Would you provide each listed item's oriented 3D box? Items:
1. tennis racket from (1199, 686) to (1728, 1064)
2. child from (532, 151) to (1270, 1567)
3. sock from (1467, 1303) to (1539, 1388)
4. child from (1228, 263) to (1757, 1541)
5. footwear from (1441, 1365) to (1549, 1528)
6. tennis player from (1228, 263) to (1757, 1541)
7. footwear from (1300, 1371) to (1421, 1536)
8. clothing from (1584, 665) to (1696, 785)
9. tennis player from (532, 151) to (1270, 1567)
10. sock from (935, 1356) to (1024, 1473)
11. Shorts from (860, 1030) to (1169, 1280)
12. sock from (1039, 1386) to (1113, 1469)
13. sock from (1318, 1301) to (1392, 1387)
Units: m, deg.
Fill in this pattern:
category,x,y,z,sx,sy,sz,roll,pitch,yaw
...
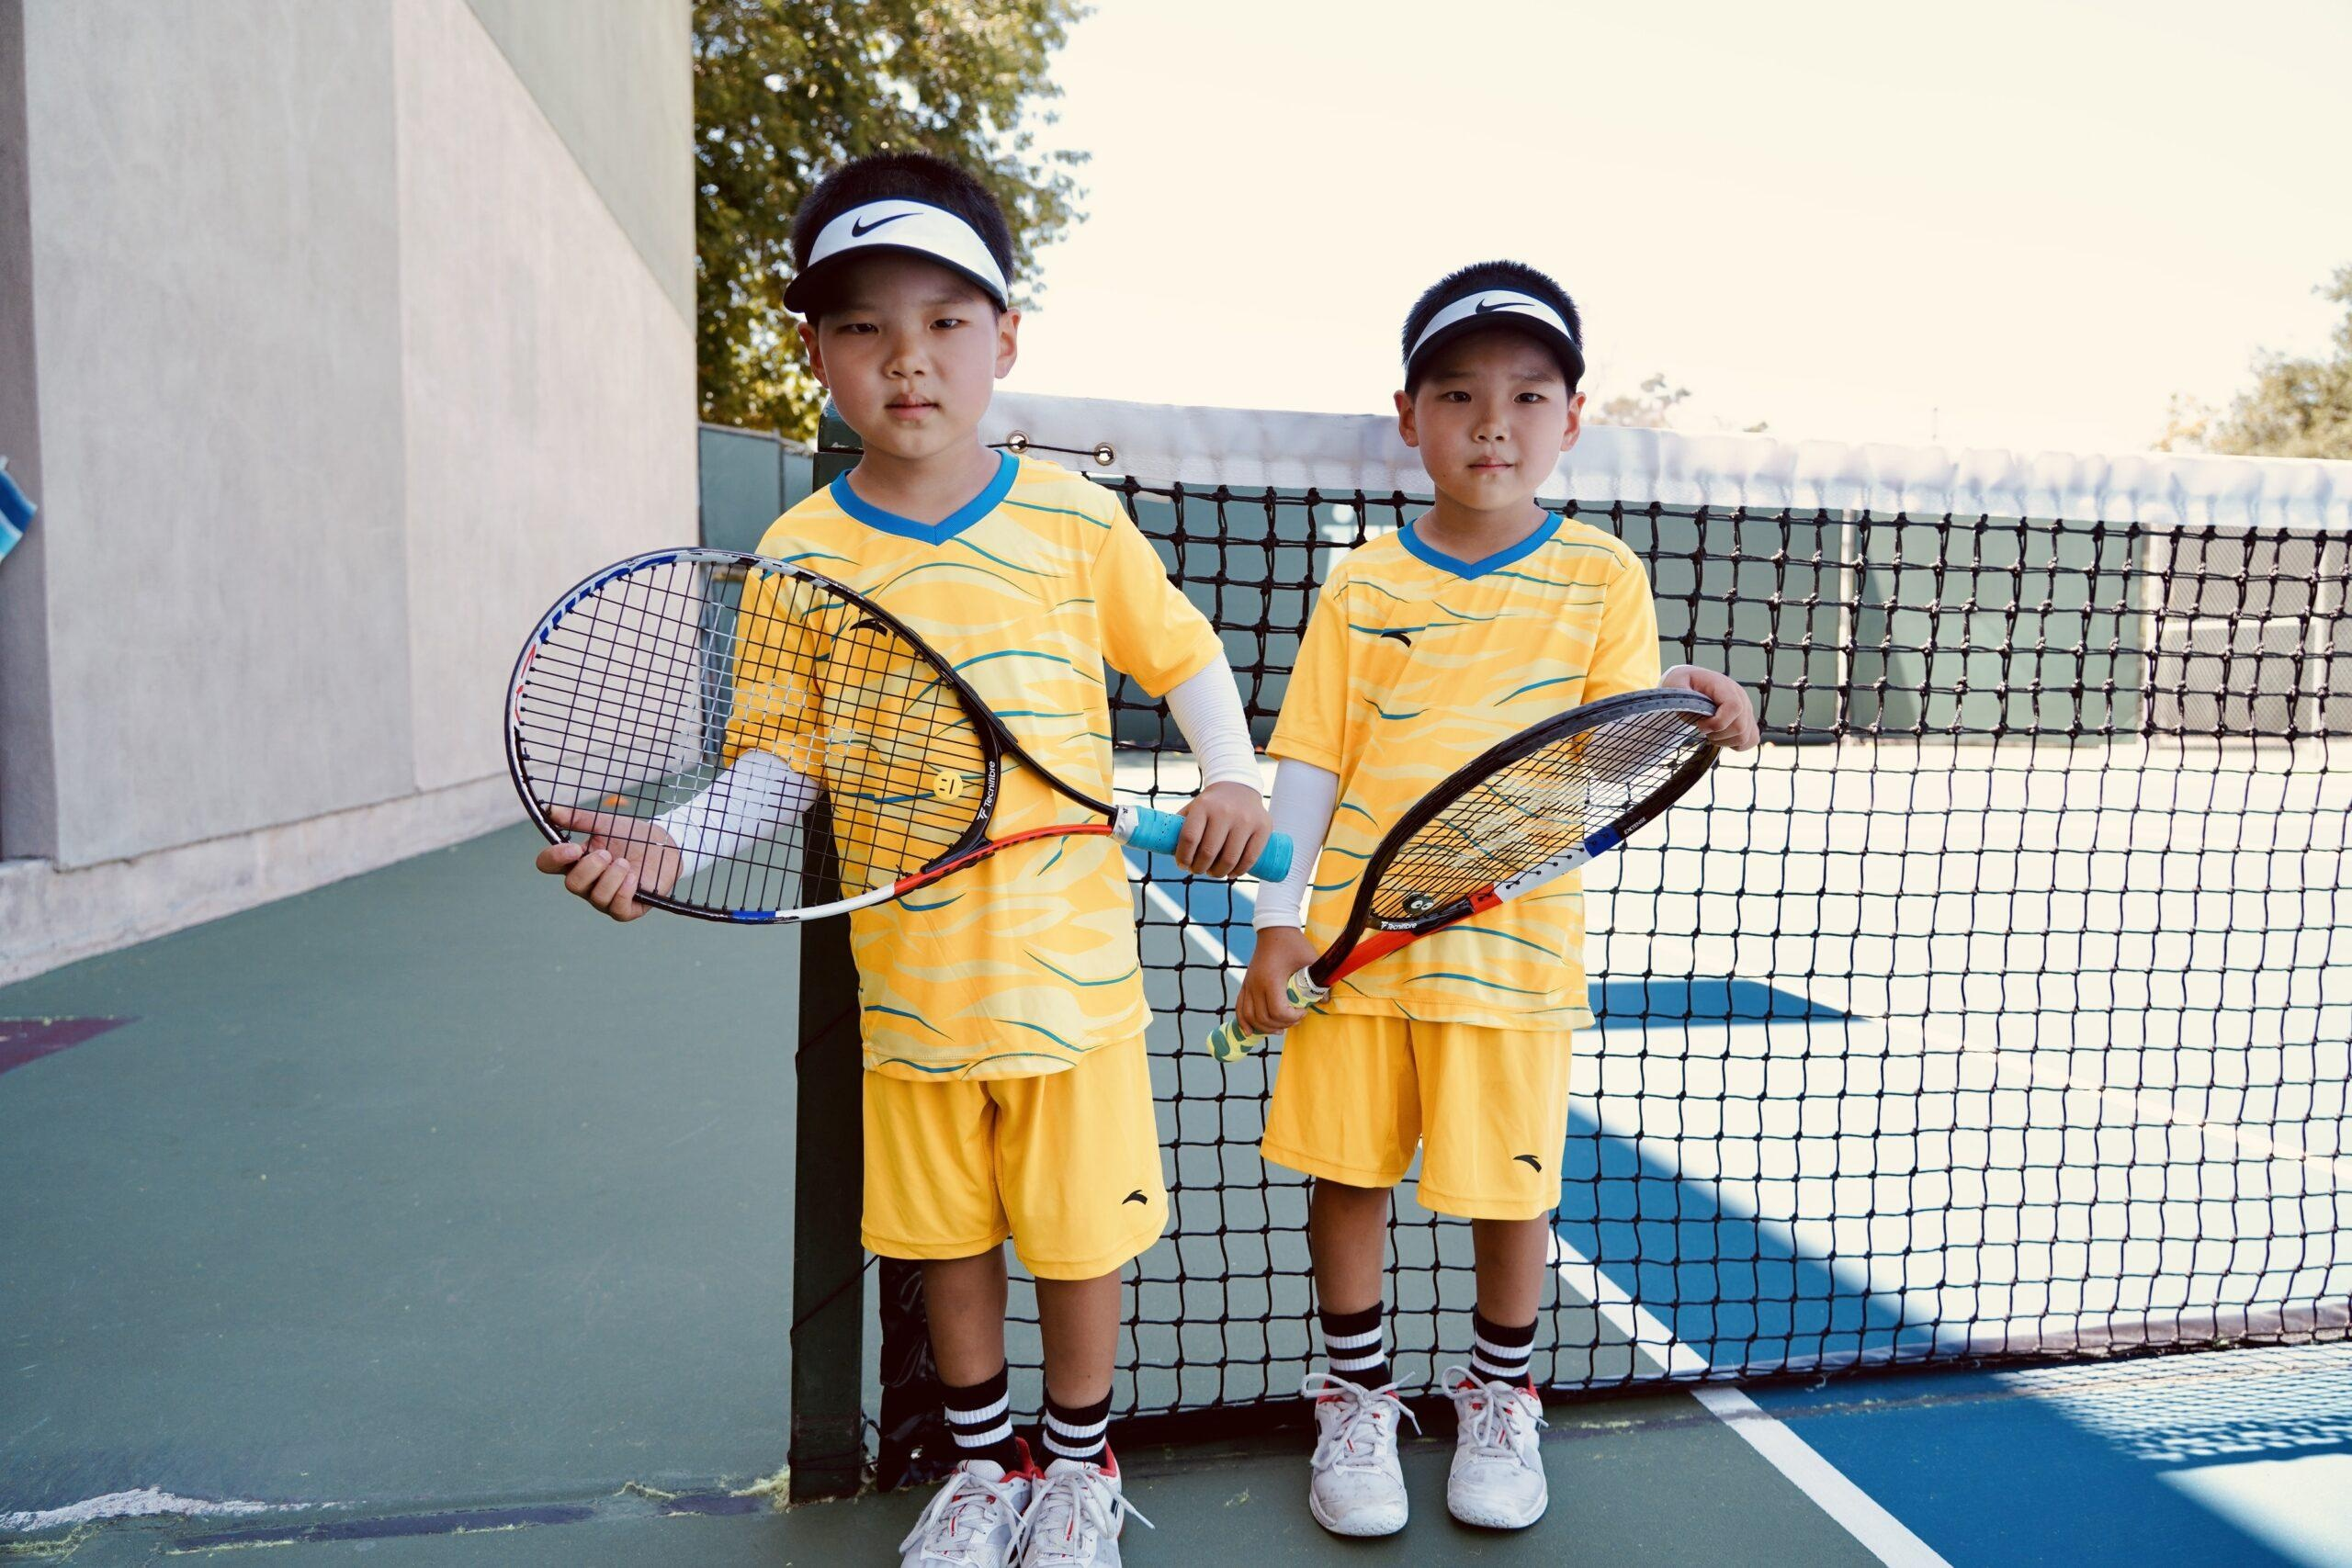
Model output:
category,x,y,z,sx,sy,sz,roll,pitch,yaw
tennis racket,0.516,0.148,3.782,1.217,0.502,0.138,-31,-5,27
child,-0.301,0.151,3.727,0.910,2.583,0.305,1,-1,-14
sock,0.633,1.110,3.957,0.129,0.146,0.120,10,-12,-3
child,0.567,0.155,3.837,0.956,2.386,0.628,2,-6,16
footwear,0.626,1.272,3.949,0.204,0.209,0.462,4,9,9
tennis player,0.623,0.167,3.888,1.014,2.458,0.604,0,-12,25
footwear,0.350,1.285,3.860,0.199,0.280,0.132,0,-1,3
clothing,0.868,-0.082,3.713,0.240,0.162,0.153,2,-2,-39
tennis player,-0.303,0.151,3.726,0.907,2.583,0.305,1,-1,-14
sock,-0.370,1.225,3.771,0.156,0.234,0.114,-10,-3,-24
Shorts,-0.288,0.682,3.872,0.631,0.578,0.385,-2,1,12
sock,-0.181,1.213,3.792,0.106,0.112,0.137,3,-14,-14
sock,0.368,1.090,3.938,0.131,0.198,0.151,-13,-16,12
